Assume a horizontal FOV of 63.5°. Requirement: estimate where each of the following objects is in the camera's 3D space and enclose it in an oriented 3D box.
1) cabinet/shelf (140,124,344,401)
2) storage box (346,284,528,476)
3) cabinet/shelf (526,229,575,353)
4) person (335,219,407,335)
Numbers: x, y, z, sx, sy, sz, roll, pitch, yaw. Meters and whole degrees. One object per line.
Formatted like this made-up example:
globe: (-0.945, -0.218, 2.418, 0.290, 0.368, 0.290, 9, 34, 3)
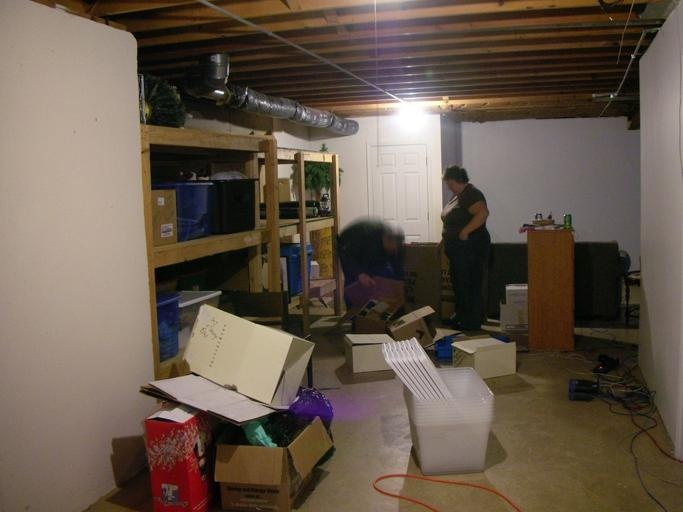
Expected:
cabinet/shelf: (-0.803, 0.058, 4.513, 0.584, 1.593, 2.658, 0, 6, 15)
storage box: (0.487, 0.853, 3.883, 1.224, 1.331, 0.790, -1, 2, -2)
cabinet/shelf: (1.965, 0.314, 5.179, 0.363, 1.062, 1.094, -1, 1, 13)
person: (0.367, 0.118, 6.368, 0.778, 1.268, 0.746, -3, 18, -14)
